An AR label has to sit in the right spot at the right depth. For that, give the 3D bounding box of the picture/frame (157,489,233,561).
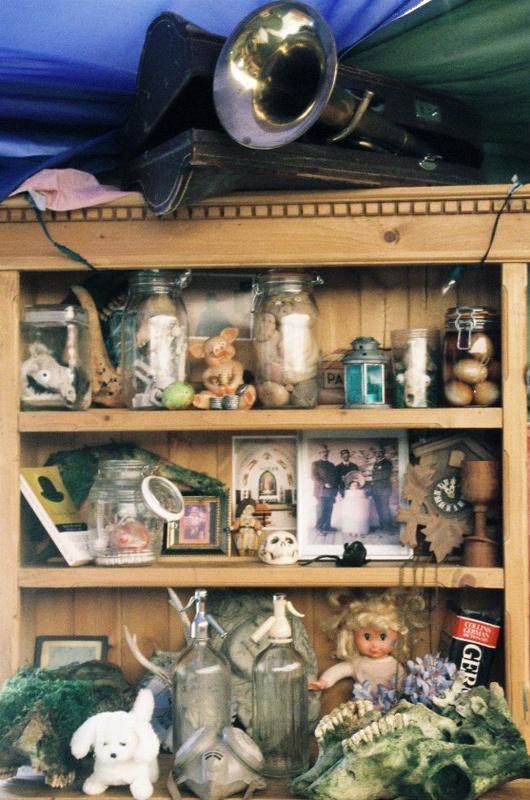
[{"bbox_3d":[-0.149,0.272,2.119,0.167,0.130,0.017,-5,-11,31],"label":"picture/frame"}]

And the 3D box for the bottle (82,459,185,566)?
[{"bbox_3d":[-0.281,0.246,2.059,0.224,0.215,0.175,-14,-16,37],"label":"bottle"}]

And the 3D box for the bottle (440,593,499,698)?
[{"bbox_3d":[0.416,0.510,1.964,0.110,0.143,0.114,13,-5,1],"label":"bottle"}]

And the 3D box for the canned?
[{"bbox_3d":[0.429,-0.086,1.995,0.137,0.195,0.146,2,8,27],"label":"canned"}]

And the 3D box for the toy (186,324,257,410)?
[{"bbox_3d":[-0.093,-0.057,2.007,0.137,0.155,0.104,-13,14,-2],"label":"toy"}]

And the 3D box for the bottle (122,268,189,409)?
[{"bbox_3d":[-0.234,-0.134,2.076,0.196,0.282,0.156,2,5,30],"label":"bottle"}]

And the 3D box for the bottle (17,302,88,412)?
[{"bbox_3d":[-0.422,-0.084,2.042,0.143,0.215,0.127,0,5,23],"label":"bottle"}]

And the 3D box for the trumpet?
[{"bbox_3d":[0.120,-0.544,1.712,0.346,0.161,0.185,9,1,-42],"label":"trumpet"}]

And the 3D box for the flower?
[{"bbox_3d":[0.280,0.565,1.924,0.173,0.085,0.116,-7,-9,-16],"label":"flower"}]

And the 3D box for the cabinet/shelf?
[{"bbox_3d":[0.003,0.194,1.942,1.351,1.215,0.388,-1,-4,2],"label":"cabinet/shelf"}]

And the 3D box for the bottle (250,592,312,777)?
[{"bbox_3d":[0.029,0.555,1.867,0.111,0.253,0.090,-3,1,-2],"label":"bottle"}]

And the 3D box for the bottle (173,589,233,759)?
[{"bbox_3d":[-0.127,0.524,1.864,0.113,0.242,0.226,-3,2,2],"label":"bottle"}]

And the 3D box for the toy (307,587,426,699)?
[{"bbox_3d":[0.225,0.524,2.036,0.250,0.301,0.127,0,-18,11],"label":"toy"}]

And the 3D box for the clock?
[{"bbox_3d":[0.384,0.210,2.002,0.273,0.237,0.083,4,-9,27],"label":"clock"}]

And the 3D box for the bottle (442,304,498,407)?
[{"bbox_3d":[0.430,-0.087,1.989,0.130,0.190,0.160,-1,2,7],"label":"bottle"}]
